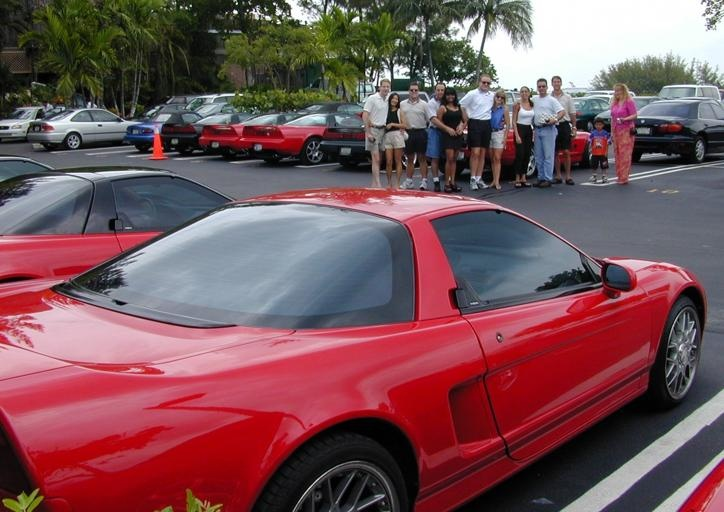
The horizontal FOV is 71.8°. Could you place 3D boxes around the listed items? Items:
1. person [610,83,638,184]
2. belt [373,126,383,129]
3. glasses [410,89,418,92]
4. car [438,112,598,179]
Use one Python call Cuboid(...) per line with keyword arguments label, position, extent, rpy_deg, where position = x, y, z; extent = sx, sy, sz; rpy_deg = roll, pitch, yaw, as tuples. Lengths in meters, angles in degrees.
Cuboid(label="person", position=(6.780, -3.211, 13.082), extent=(0.578, 2.592, 1.050), rpy_deg=(5, 14, 25))
Cuboid(label="belt", position=(0.388, -3.068, 11.891), extent=(0.218, 0.052, 0.037), rpy_deg=(-1, 12, -2))
Cuboid(label="glasses", position=(1.192, -3.867, 11.636), extent=(0.109, 0.034, 0.109), rpy_deg=(0, -17, 2))
Cuboid(label="car", position=(4.879, -3.213, 14.416), extent=(4.270, 1.273, 1.843), rpy_deg=(-12, 17, -36))
